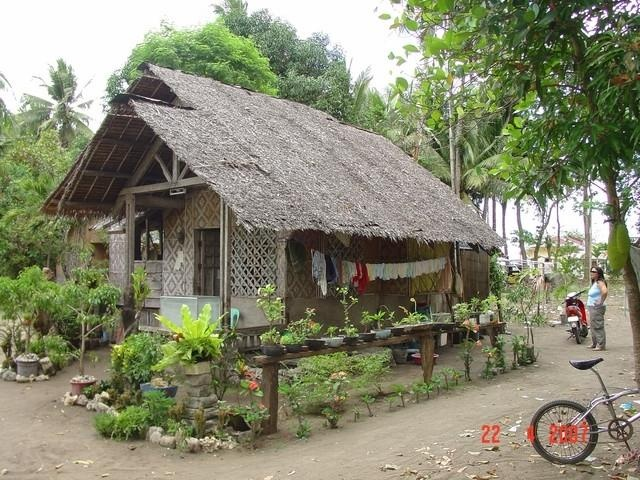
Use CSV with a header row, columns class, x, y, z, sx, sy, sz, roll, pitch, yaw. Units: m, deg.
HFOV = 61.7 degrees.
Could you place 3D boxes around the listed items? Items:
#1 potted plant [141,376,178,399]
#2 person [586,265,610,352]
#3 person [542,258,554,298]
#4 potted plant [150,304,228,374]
class,x,y,z,sx,sy,sz,roll,pitch,yaw
potted plant,-2.513,2.321,8.396,0.379,0.187,0.335,2,-15,-2
person,6.647,1.631,12.839,0.391,2.038,1.447,0,3,28
person,11.396,1.971,26.705,0.394,1.491,1.093,16,-40,-4
potted plant,-1.897,1.419,7.799,1.222,0.654,1.201,-10,22,-23
